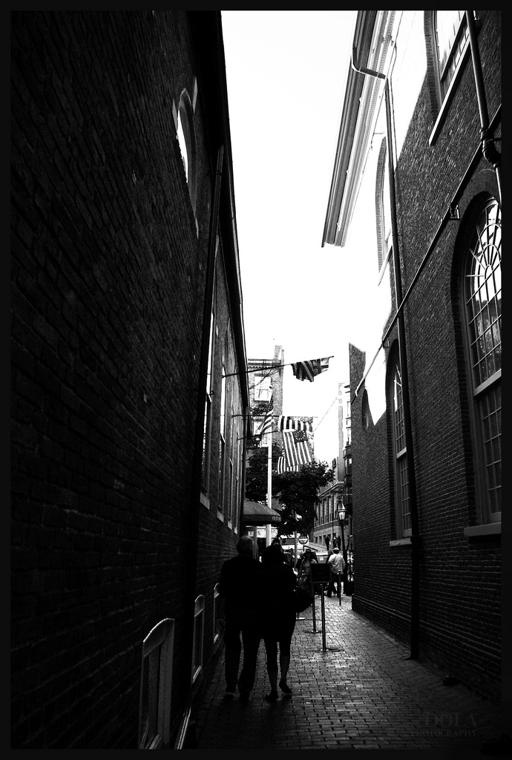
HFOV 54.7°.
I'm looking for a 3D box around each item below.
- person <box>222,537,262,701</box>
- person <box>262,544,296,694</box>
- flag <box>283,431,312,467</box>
[{"bbox_3d":[-0.205,3.160,6.288,0.528,1.735,0.368,-2,-11,12],"label":"person"},{"bbox_3d":[0.272,3.163,6.512,0.615,1.962,0.414,11,-15,-44],"label":"person"},{"bbox_3d":[1.725,3.005,21.421,0.855,2.201,0.089,-8,16,-9],"label":"flag"}]
